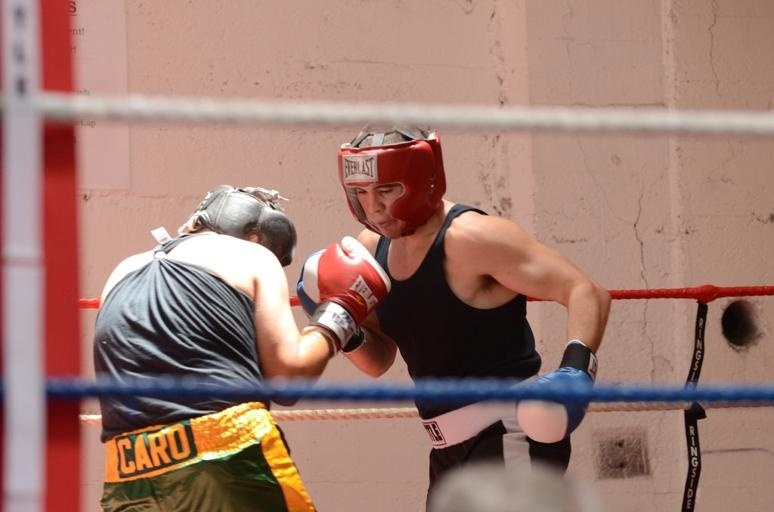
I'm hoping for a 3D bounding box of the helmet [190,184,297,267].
[{"bbox_3d":[-0.522,-0.127,4.514,0.389,0.214,0.278,25,-4,2],"label":"helmet"}]

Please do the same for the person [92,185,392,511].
[{"bbox_3d":[-0.579,0.358,4.267,1.016,1.169,0.664,1,9,-14],"label":"person"}]

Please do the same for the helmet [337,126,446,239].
[{"bbox_3d":[0.039,-0.311,4.583,0.449,0.428,0.408,-10,13,-12],"label":"helmet"}]

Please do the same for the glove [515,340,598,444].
[{"bbox_3d":[0.579,0.526,3.989,0.229,0.405,0.434,7,10,24],"label":"glove"}]
